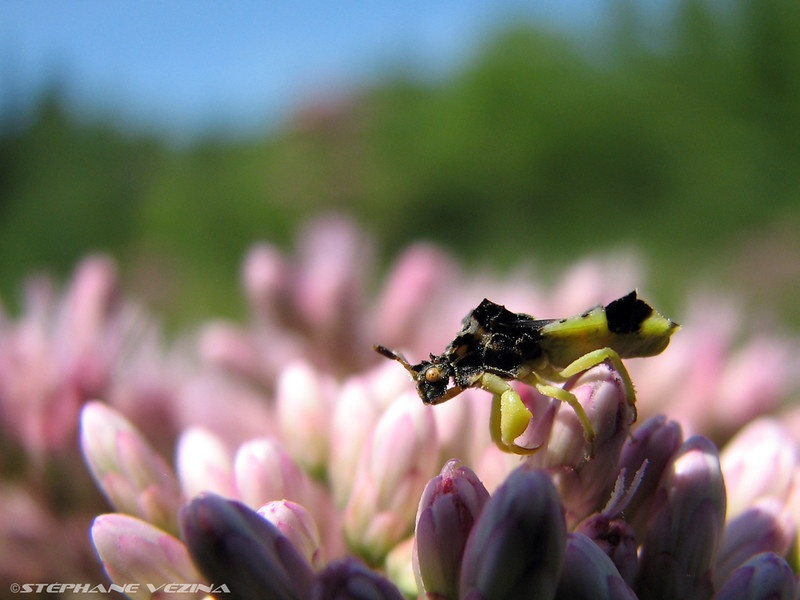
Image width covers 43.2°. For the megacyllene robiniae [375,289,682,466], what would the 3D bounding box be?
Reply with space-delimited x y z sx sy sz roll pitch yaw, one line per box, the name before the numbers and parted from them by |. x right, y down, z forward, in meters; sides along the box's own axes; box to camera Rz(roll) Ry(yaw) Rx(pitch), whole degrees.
megacyllene robiniae | 0.113 0.056 0.805 0.231 0.133 0.103 -9 1 1
